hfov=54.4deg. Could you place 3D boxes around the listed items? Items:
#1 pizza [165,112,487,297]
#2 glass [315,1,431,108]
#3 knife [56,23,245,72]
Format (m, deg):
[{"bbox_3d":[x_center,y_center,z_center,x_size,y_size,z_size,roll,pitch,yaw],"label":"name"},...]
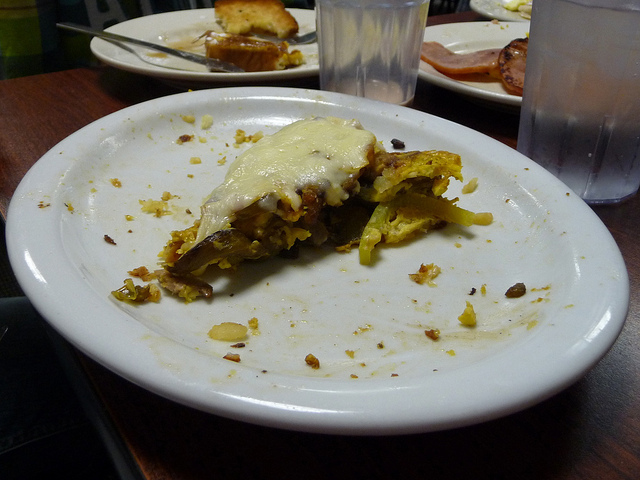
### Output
[{"bbox_3d":[-0.001,-0.078,1.128,0.421,0.123,0.373,-26,37,-34],"label":"pizza"},{"bbox_3d":[0.138,-0.472,1.548,0.269,0.271,0.257,20,36,27],"label":"glass"},{"bbox_3d":[-0.452,-0.543,1.719,0.524,0.115,0.148,8,40,8],"label":"knife"}]
